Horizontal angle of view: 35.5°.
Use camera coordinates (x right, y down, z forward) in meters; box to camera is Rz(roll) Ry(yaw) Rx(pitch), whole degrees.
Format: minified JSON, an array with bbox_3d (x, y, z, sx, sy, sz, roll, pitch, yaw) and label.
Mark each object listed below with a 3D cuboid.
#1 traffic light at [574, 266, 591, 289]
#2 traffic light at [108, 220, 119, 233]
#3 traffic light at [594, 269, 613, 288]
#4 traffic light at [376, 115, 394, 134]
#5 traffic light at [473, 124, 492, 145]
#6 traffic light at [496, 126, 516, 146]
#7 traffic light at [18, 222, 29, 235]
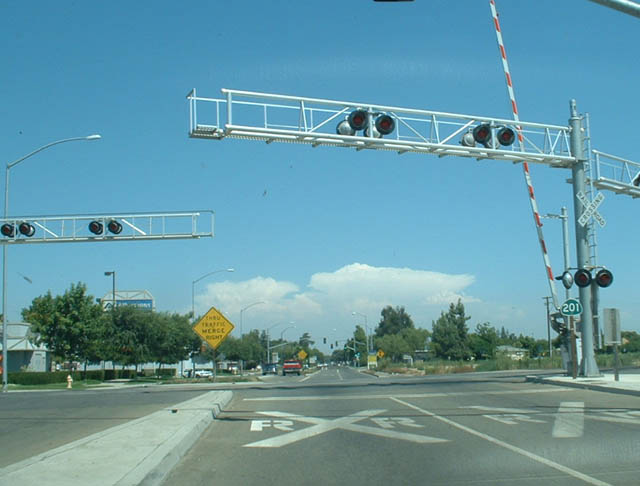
[{"bbox_3d":[11.134,1.415,42.762,0.706,0.730,0.571,-2,-2,13],"label":"traffic light"},{"bbox_3d":[-9.966,-0.868,48.563,0.580,0.725,1.784,0,-3,-16],"label":"traffic light"},{"bbox_3d":[11.740,1.396,41.859,0.648,0.805,1.565,-2,-3,14],"label":"traffic light"},{"bbox_3d":[2.544,-4.796,39.996,0.640,0.795,0.781,1,-3,-35],"label":"traffic light"},{"bbox_3d":[6.720,-4.585,41.889,0.773,0.903,0.501,-1,-2,9],"label":"traffic light"},{"bbox_3d":[7.742,-4.529,42.068,0.737,0.734,0.468,1,-3,-39],"label":"traffic light"},{"bbox_3d":[-14.484,-0.729,49.120,0.389,0.617,0.566,5,-1,-4],"label":"traffic light"}]
